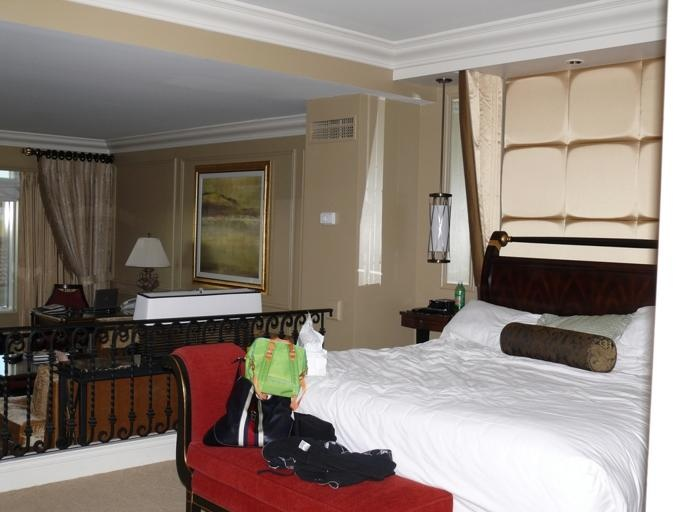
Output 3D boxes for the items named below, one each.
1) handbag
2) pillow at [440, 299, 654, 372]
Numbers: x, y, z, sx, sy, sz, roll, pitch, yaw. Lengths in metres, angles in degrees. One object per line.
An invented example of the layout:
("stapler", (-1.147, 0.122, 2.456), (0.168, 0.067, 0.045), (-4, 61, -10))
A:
("handbag", (-0.229, 0.758, 2.721), (0.806, 0.361, 0.653), (8, 4, 16))
("pillow", (1.863, 0.536, 3.821), (0.781, 0.249, 0.712), (0, 16, 32))
